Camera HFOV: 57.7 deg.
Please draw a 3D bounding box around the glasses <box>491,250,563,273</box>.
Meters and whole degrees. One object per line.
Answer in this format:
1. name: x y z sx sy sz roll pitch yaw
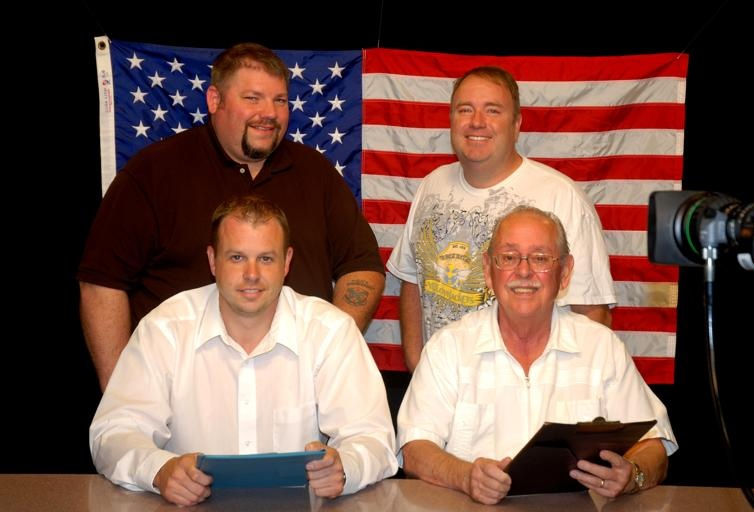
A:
1. glasses: 0.738 0.033 3.405 0.318 0.096 0.058 0 -1 1
